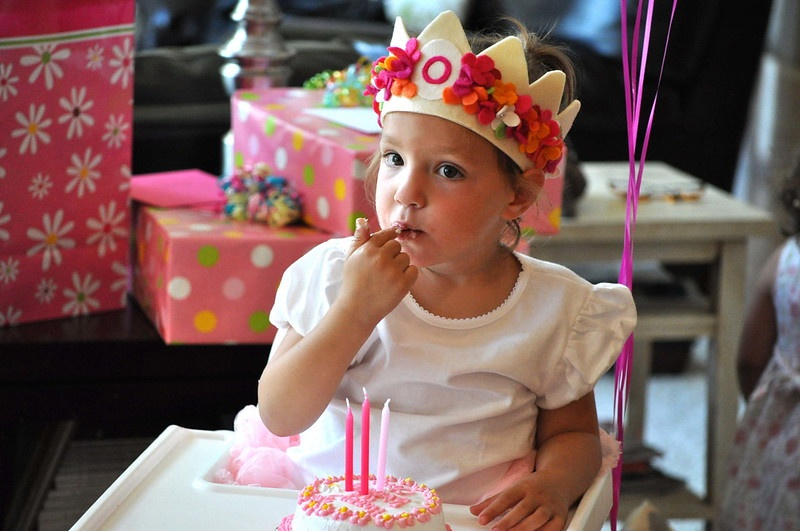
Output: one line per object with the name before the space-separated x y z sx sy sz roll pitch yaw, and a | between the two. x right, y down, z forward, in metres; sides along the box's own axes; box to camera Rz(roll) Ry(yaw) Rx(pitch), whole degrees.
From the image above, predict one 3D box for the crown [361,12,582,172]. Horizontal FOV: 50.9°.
crown | 0.114 -0.232 1.413 0.272 0.140 0.282 21 -4 40
